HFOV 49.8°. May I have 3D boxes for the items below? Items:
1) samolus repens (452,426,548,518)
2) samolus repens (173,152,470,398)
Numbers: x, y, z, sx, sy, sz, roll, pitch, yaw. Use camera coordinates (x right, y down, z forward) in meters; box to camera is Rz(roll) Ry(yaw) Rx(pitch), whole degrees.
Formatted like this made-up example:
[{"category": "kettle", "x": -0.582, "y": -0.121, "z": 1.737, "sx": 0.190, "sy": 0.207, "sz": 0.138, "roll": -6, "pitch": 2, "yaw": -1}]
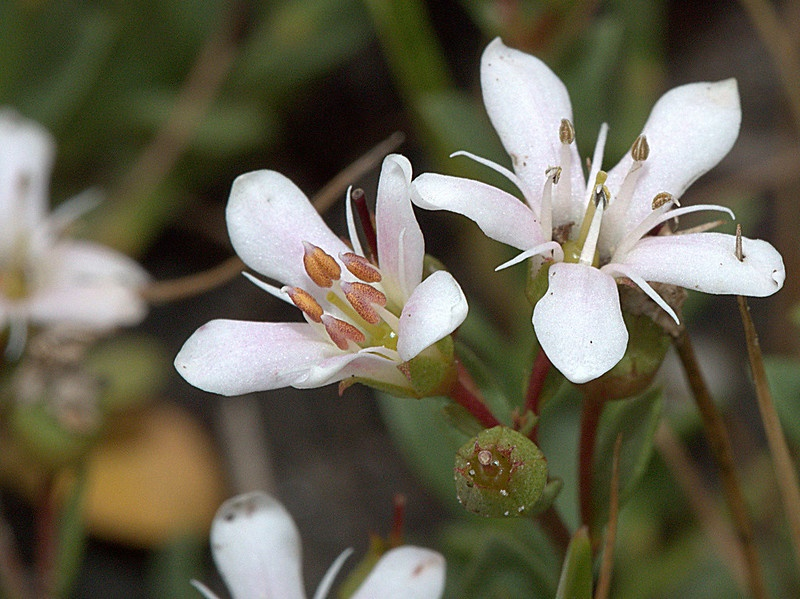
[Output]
[{"category": "samolus repens", "x": 0.194, "y": 0.356, "z": 1.760, "sx": 0.183, "sy": 0.129, "sz": 0.208, "roll": 8, "pitch": 53, "yaw": 22}, {"category": "samolus repens", "x": -0.142, "y": -0.017, "z": 1.793, "sx": 0.595, "sy": 0.355, "sz": 0.477, "roll": 4, "pitch": 59, "yaw": 12}]
